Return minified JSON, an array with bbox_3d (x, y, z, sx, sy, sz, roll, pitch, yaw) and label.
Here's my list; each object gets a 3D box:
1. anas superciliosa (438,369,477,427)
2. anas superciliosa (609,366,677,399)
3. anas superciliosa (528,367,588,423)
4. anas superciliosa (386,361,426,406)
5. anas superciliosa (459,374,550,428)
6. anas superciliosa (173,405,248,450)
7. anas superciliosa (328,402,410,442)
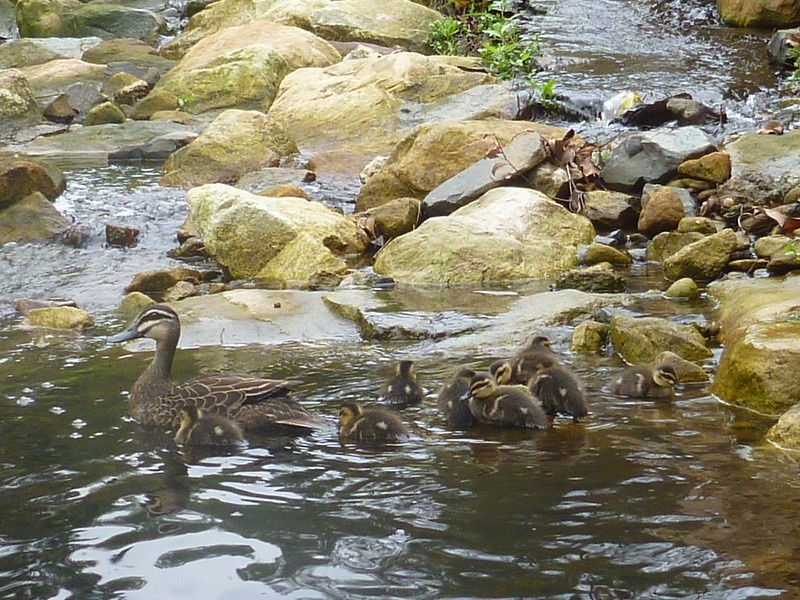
[{"bbox_3d":[0.552,0.977,10.496,0.341,0.514,0.278,-12,-17,37],"label":"anas superciliosa"},{"bbox_3d":[2.454,0.809,10.685,0.640,0.324,0.347,11,31,26],"label":"anas superciliosa"},{"bbox_3d":[1.574,0.923,10.495,0.406,0.317,0.647,-20,26,-13],"label":"anas superciliosa"},{"bbox_3d":[0.022,0.843,10.906,0.456,0.354,0.560,4,25,13],"label":"anas superciliosa"},{"bbox_3d":[0.963,1.066,10.425,1.075,0.442,0.447,13,1,-23],"label":"anas superciliosa"},{"bbox_3d":[-1.807,1.210,9.940,0.679,0.296,0.368,1,0,19],"label":"anas superciliosa"},{"bbox_3d":[-0.285,1.161,10.044,0.596,0.236,0.394,0,4,30],"label":"anas superciliosa"}]
